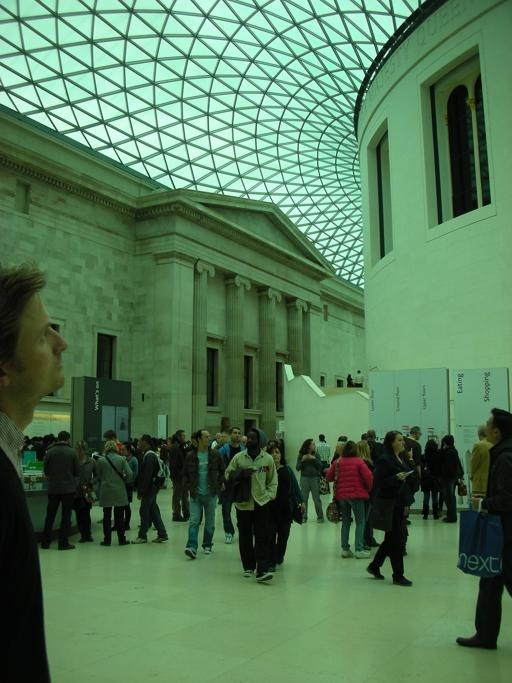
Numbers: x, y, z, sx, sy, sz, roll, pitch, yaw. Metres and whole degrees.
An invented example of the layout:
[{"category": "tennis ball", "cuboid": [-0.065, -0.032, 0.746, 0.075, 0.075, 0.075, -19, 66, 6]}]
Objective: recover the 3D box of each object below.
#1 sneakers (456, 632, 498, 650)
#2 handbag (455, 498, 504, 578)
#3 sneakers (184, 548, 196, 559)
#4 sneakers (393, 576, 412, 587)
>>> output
[{"category": "sneakers", "cuboid": [1.643, 2.218, 5.025, 0.292, 0.142, 0.115, -4, -31, 21]}, {"category": "handbag", "cuboid": [1.630, 1.458, 4.899, 0.310, 0.443, 0.202, -3, -8, 20]}, {"category": "sneakers", "cuboid": [-0.878, 2.885, 9.077, 0.080, 0.252, 0.109, -5, 29, 11]}, {"category": "sneakers", "cuboid": [1.621, 2.637, 7.408, 0.078, 0.094, 0.203, 4, -16, -26]}]
